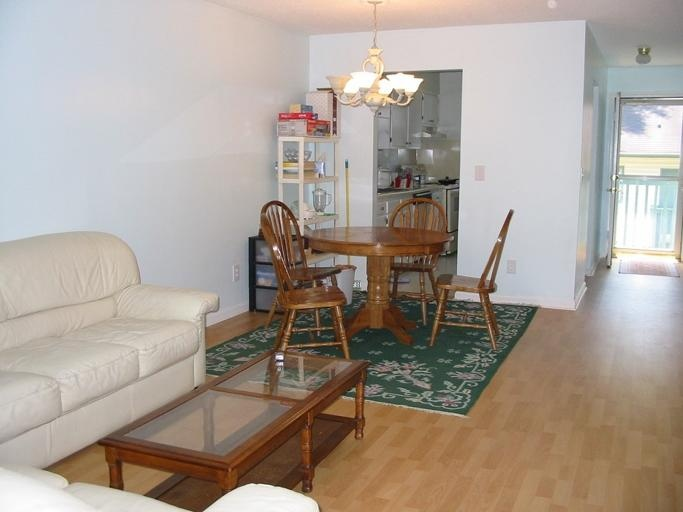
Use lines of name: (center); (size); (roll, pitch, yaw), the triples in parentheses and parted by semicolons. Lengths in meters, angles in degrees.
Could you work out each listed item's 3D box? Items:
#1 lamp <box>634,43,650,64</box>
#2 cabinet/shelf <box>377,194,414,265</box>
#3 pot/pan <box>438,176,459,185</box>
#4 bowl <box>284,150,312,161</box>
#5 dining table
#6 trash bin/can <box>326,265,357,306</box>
lamp: (3.943, -2.647, 6.459); (0.229, 0.204, 0.222); (-9, 14, -35)
cabinet/shelf: (0.708, -0.414, 6.929); (0.528, 0.888, 0.968); (0, 10, 16)
pot/pan: (1.967, -1.370, 8.961); (0.301, 0.110, 0.292); (-4, 7, -27)
bowl: (-0.493, -1.118, 5.482); (0.267, 0.125, 0.473); (-1, 10, -10)
dining table: (0.342, 0.259, 4.405); (1.121, 0.779, 1.116); (7, 13, 28)
trash bin/can: (0.004, 0.285, 5.135); (0.389, 0.365, 0.373); (-1, 3, -11)
